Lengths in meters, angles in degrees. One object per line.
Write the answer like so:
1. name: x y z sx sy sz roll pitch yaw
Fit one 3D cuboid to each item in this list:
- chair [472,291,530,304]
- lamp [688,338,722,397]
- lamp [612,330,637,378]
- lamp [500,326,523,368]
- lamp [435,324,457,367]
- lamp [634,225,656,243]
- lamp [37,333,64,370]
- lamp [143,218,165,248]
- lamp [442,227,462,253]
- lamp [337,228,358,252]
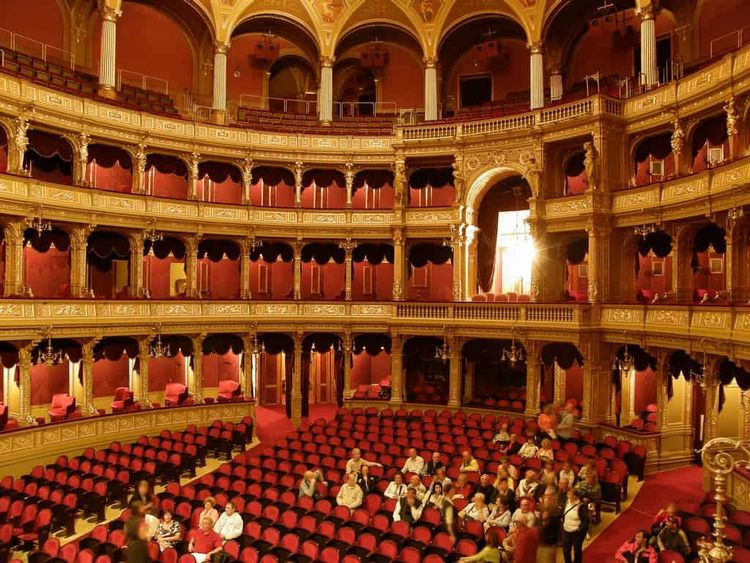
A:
1. chair: 6.358 0.846 37.136 1.765 0.773 0.555 -1 -13 16
2. lamp: 12.992 3.436 29.008 0.980 2.146 1.012 3 12 31
3. lamp: 11.395 3.282 33.697 0.853 1.970 2.555 0 -4 18
4. lamp: 6.776 3.309 36.361 1.214 1.901 1.189 1 -2 -39
5. lamp: 3.486 3.210 37.483 1.334 1.979 1.325 3 -1 -38
6. lamp: 12.572 -2.288 34.265 0.175 0.775 0.728 2 -2 -33
7. lamp: -15.095 3.256 33.825 1.057 1.434 4.593 3 -5 -24
8. lamp: -11.527 -2.572 37.748 0.697 1.355 1.283 2 -4 -2
9. lamp: 4.075 -2.267 39.469 1.133 1.853 1.300 1 0 11
10. lamp: -1.641 -2.396 40.759 1.139 1.506 0.440 0 3 -3
